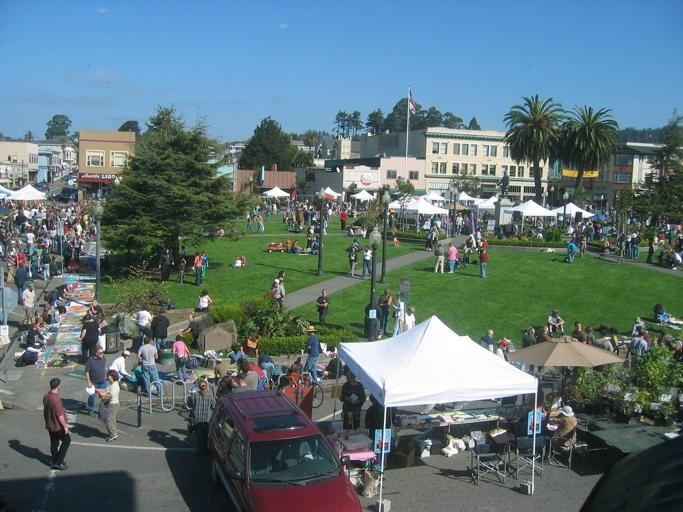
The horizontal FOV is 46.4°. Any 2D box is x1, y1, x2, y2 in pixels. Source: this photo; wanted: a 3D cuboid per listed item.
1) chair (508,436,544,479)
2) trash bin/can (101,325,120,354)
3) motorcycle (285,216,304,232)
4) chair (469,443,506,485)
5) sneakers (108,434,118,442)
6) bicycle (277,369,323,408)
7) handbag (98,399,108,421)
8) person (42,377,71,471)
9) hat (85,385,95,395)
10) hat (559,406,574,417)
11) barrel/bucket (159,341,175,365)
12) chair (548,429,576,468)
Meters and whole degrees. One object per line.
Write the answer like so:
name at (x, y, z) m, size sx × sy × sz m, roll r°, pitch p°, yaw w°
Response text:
chair at (5.398, 5.767, 22.777) m, size 1.106 × 1.097 × 1.188 m, roll -1°, pitch -4°, yaw 22°
trash bin/can at (-8.919, 3.296, 30.870) m, size 0.800 × 1.229 × 0.820 m, roll 0°, pitch 2°, yaw -31°
motorcycle at (-3.662, -2.536, 63.699) m, size 0.985 × 1.109 × 1.639 m, roll -1°, pitch 3°, yaw -18°
chair at (4.217, 5.842, 22.886) m, size 0.852 × 1.197 × 0.997 m, roll -3°, pitch 8°, yaw -8°
sneakers at (-6.808, 5.450, 23.720) m, size 0.124 × 0.153 × 0.364 m, roll 0°, pitch 2°, yaw 14°
bicycle at (-1.564, 4.497, 26.390) m, size 1.691 × 1.192 × 0.888 m, roll 7°, pitch 4°, yaw 26°
handbag at (-7.113, 4.667, 23.870) m, size 0.368 × 0.624 × 0.560 m, roll 1°, pitch -3°, yaw -7°
person at (-7.905, 4.699, 22.166) m, size 0.732 × 2.481 × 0.548 m, roll 7°, pitch 8°, yaw 38°
hat at (-7.782, 4.192, 24.656) m, size 0.315 × 0.166 × 0.453 m, roll 2°, pitch 3°, yaw -31°
hat at (6.671, 4.596, 23.571) m, size 0.306 × 0.344 × 0.723 m, roll 4°, pitch 7°, yaw 12°
barrel/bucket at (-6.616, 3.699, 30.054) m, size 0.660 × 0.739 × 0.740 m, roll 1°, pitch -1°, yaw -5°
chair at (6.419, 5.583, 23.245) m, size 0.759 × 1.005 × 0.752 m, roll 4°, pitch 7°, yaw 18°
